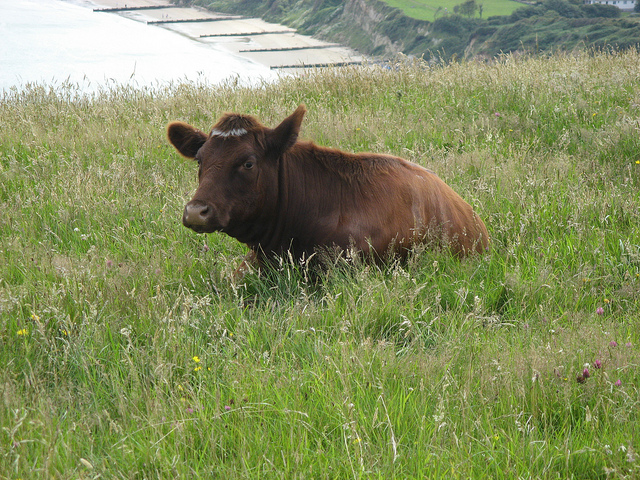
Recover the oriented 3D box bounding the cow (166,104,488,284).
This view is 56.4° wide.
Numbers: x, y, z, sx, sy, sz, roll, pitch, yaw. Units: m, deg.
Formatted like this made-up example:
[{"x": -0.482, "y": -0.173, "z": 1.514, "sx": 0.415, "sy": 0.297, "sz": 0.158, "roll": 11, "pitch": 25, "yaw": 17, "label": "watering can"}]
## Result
[{"x": 0.004, "y": -0.684, "z": 6.428, "sx": 3.471, "sy": 2.021, "sz": 1.633, "roll": 14, "pitch": -7, "yaw": -25, "label": "cow"}]
